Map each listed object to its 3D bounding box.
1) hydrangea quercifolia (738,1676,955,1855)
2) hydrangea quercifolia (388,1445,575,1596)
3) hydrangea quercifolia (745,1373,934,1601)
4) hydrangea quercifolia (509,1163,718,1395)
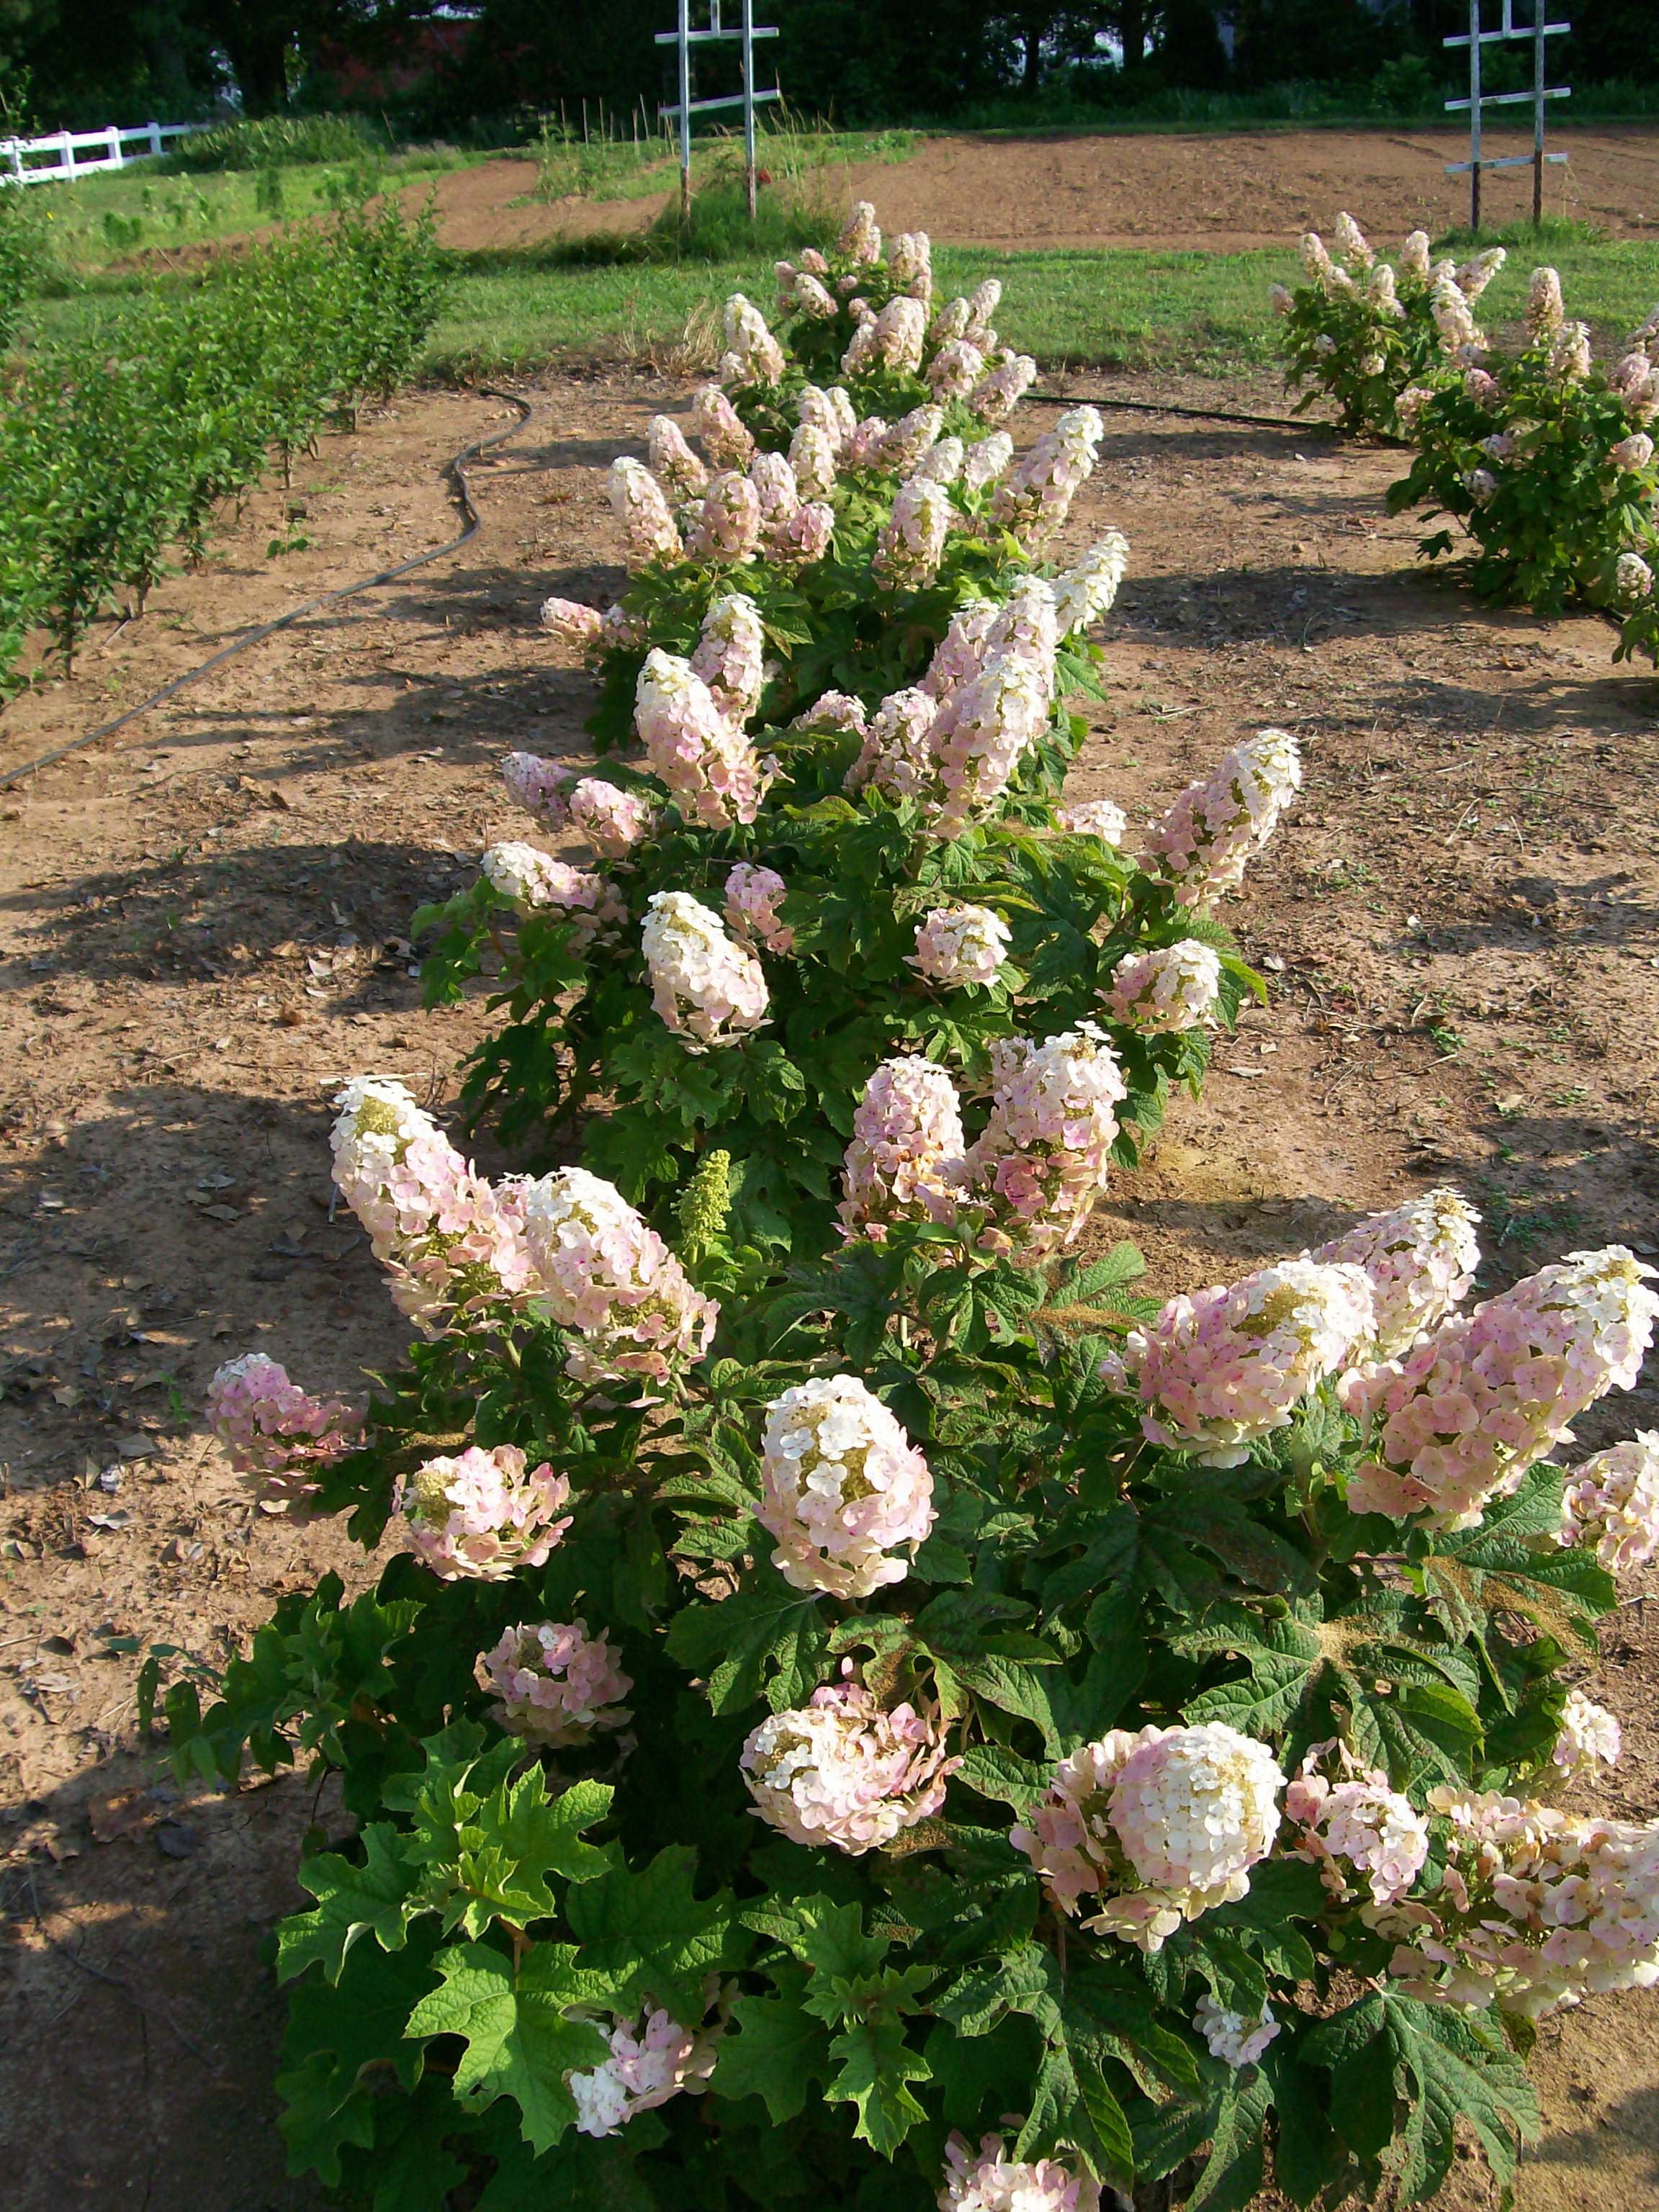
[{"bbox_3d":[0.019,0.675,2.085,0.187,0.202,0.144,34,44,-12],"label":"hydrangea quercifolia"},{"bbox_3d":[-0.387,0.462,2.270,0.180,0.185,0.165,-4,17,-11],"label":"hydrangea quercifolia"},{"bbox_3d":[0.009,0.422,2.061,0.158,0.296,0.166,7,19,23],"label":"hydrangea quercifolia"},{"bbox_3d":[-0.242,0.213,2.330,0.215,0.313,0.186,-2,17,-4],"label":"hydrangea quercifolia"}]
